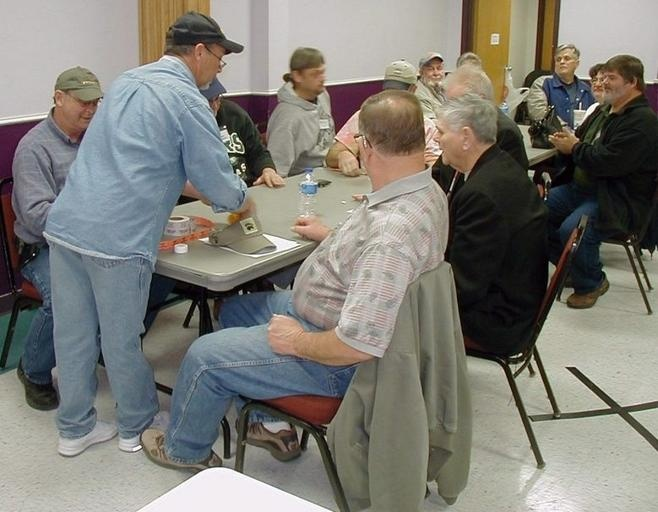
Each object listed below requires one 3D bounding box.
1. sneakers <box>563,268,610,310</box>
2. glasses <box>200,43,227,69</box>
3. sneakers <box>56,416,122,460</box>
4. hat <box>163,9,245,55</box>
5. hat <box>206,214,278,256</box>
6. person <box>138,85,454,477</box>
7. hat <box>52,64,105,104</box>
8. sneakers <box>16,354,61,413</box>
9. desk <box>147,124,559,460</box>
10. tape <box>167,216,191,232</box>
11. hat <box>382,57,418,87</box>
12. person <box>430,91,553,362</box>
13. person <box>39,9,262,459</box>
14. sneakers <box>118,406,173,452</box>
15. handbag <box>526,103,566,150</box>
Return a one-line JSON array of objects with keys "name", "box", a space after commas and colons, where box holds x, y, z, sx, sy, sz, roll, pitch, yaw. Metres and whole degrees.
[{"name": "sneakers", "box": [1.791, 0.264, 3.785, 0.389, 0.176, 0.165, -29, 35, -30]}, {"name": "glasses", "box": [-0.452, -0.791, 2.104, 0.026, 0.099, 0.093, -28, -5, 14]}, {"name": "sneakers", "box": [-0.998, 0.774, 2.250, 0.100, 0.112, 0.257, 12, 21, 26]}, {"name": "hat", "box": [-0.479, -0.862, 2.127, 0.317, 0.160, 0.203, -9, 0, -6]}, {"name": "hat", "box": [-0.349, -0.104, 2.153, 0.227, 0.086, 0.148, 18, 26, 36]}, {"name": "person", "box": [-0.144, 0.141, 1.859, 0.976, 1.418, 0.714, 10, 17, 4]}, {"name": "hat", "box": [-1.214, -0.860, 2.653, 0.255, 0.153, 0.185, 12, 21, 18]}, {"name": "sneakers", "box": [-1.404, 0.640, 2.610, 0.298, 0.135, 0.121, 29, 36, 12]}, {"name": "desk", "box": [-0.096, 0.135, 1.907, 0.981, 1.338, 0.767, 5, 19, 10]}, {"name": "tape", "box": [-0.620, -0.144, 2.285, 0.061, 0.035, 0.089, 5, 11, 11]}, {"name": "hat", "box": [0.552, -1.417, 4.105, 0.158, 0.149, 0.242, 14, 28, 9]}, {"name": "person", "box": [0.623, -0.076, 2.449, 0.662, 1.218, 0.599, 6, 24, 36]}, {"name": "person", "box": [-0.738, -0.092, 2.271, 0.587, 1.720, 0.810, 17, 18, 23]}, {"name": "sneakers", "box": [-0.834, 0.746, 2.315, 0.086, 0.105, 0.249, 2, 9, -7]}, {"name": "handbag", "box": [1.618, -1.018, 4.201, 0.296, 0.392, 0.310, 0, 15, 0]}]
